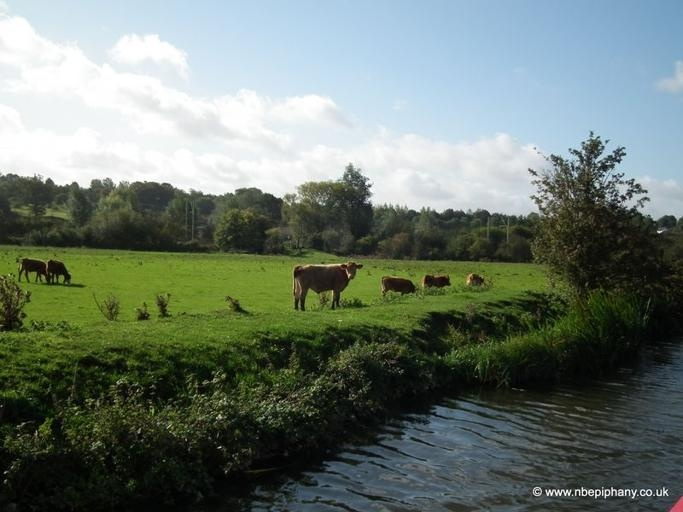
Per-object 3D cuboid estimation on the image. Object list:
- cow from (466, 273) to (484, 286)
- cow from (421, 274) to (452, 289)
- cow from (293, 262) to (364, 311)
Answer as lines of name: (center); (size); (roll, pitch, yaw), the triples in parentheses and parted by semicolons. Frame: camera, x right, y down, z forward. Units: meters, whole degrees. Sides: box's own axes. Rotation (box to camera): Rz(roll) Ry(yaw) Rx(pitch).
cow: (8.681, 1.533, 37.798); (0.716, 0.467, 0.984); (6, -2, -28)
cow: (6.093, 1.671, 37.027); (2.197, 1.450, 0.864); (0, 5, -12)
cow: (-0.990, 1.425, 27.889); (1.899, 2.042, 4.175); (7, 11, 28)
